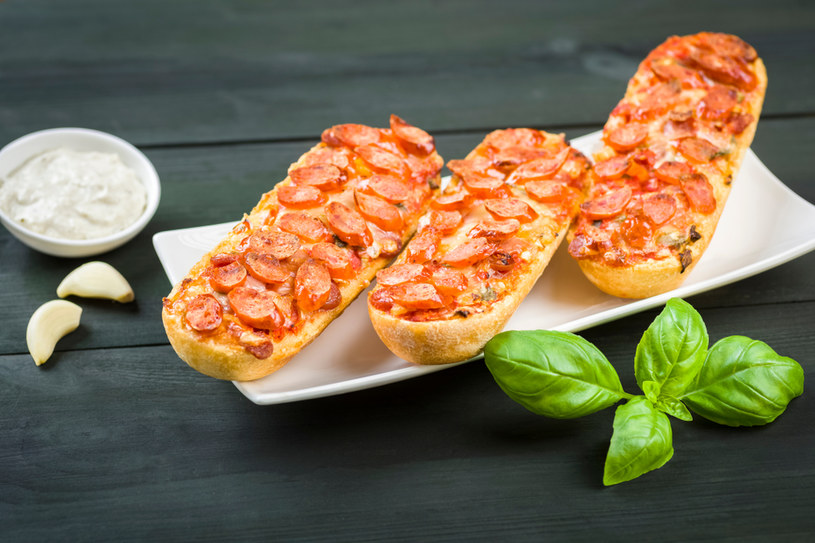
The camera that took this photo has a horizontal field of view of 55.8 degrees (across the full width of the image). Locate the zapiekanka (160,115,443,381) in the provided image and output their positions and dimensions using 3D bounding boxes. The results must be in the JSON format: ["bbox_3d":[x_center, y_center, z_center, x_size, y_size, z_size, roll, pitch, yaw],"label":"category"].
[{"bbox_3d":[-0.351,-0.111,2.823,0.560,0.281,1.194,28,60,12],"label":"zapiekanka"}]

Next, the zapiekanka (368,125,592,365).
[{"bbox_3d":[0.313,-0.120,2.968,0.550,0.360,1.180,10,44,32],"label":"zapiekanka"}]
